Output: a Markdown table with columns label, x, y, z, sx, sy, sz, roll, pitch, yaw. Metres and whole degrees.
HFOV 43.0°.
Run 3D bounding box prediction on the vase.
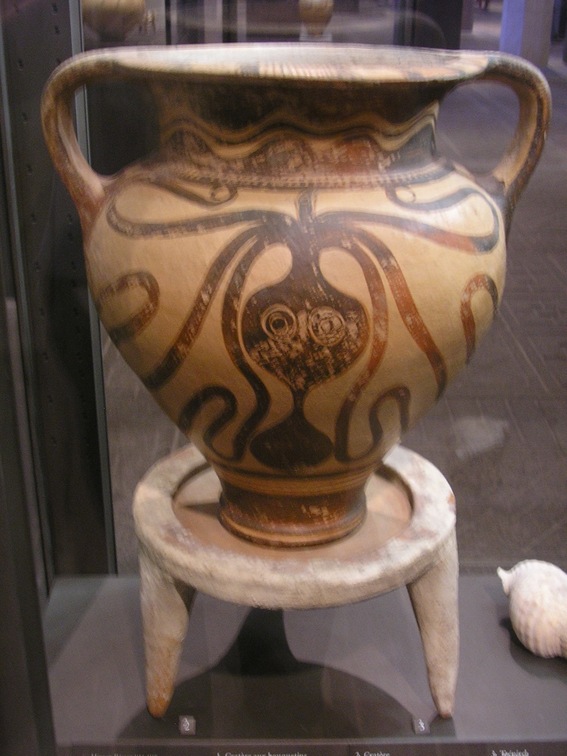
| label | x | y | z | sx | sy | sz | roll | pitch | yaw |
| --- | --- | --- | --- | --- | --- | --- | --- | --- | --- |
| vase | 0.029 | -0.070 | 0.835 | 0.561 | 0.494 | 0.445 | -2 | 19 | -6 |
